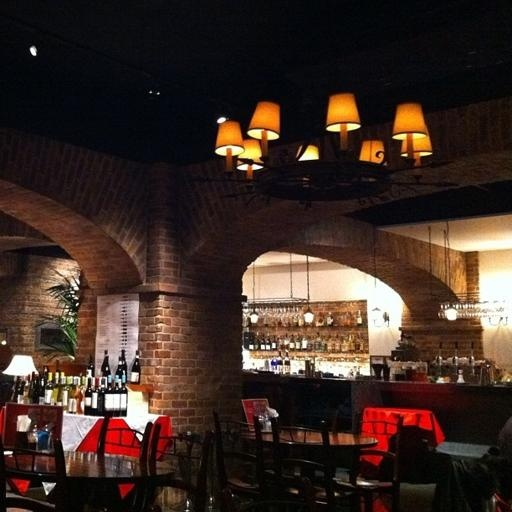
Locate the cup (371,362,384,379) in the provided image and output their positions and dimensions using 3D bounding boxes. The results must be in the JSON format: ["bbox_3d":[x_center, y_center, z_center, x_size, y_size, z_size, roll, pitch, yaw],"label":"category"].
[{"bbox_3d":[1.977,1.897,8.596,0.215,0.352,0.202,0,-4,0],"label":"cup"}]
